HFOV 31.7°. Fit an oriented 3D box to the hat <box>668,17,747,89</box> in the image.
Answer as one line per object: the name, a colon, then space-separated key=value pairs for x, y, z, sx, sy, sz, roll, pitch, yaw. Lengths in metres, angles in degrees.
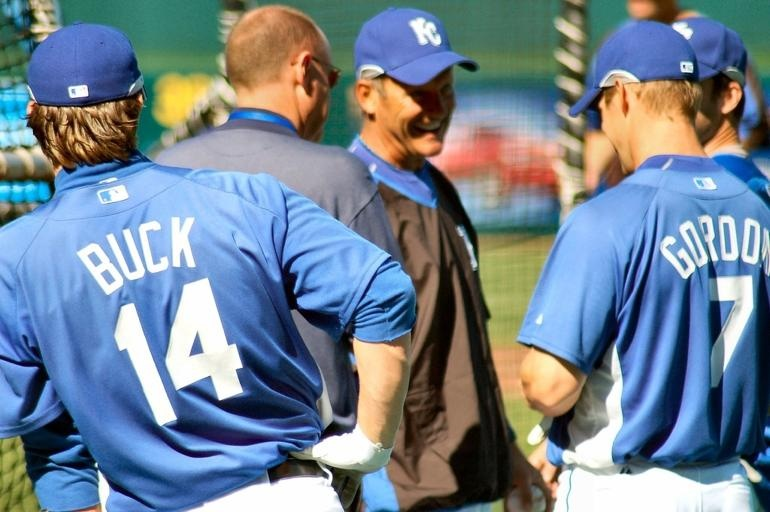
hat: x=1.714 y=-1.079 z=7.054 sx=0.451 sy=0.268 sz=0.313 roll=11 pitch=16 yaw=-13

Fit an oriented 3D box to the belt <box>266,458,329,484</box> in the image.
belt: x=-0.396 y=0.943 z=6.045 sx=0.276 sy=0.128 sz=0.100 roll=-4 pitch=0 yaw=-15

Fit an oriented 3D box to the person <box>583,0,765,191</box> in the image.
person: x=1.862 y=-1.244 z=10.110 sx=0.857 sy=0.884 sz=1.502 roll=2 pitch=16 yaw=38

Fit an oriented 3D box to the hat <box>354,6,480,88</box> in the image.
hat: x=0.124 y=-1.070 z=6.936 sx=0.376 sy=0.308 sz=0.511 roll=-14 pitch=11 yaw=-39
